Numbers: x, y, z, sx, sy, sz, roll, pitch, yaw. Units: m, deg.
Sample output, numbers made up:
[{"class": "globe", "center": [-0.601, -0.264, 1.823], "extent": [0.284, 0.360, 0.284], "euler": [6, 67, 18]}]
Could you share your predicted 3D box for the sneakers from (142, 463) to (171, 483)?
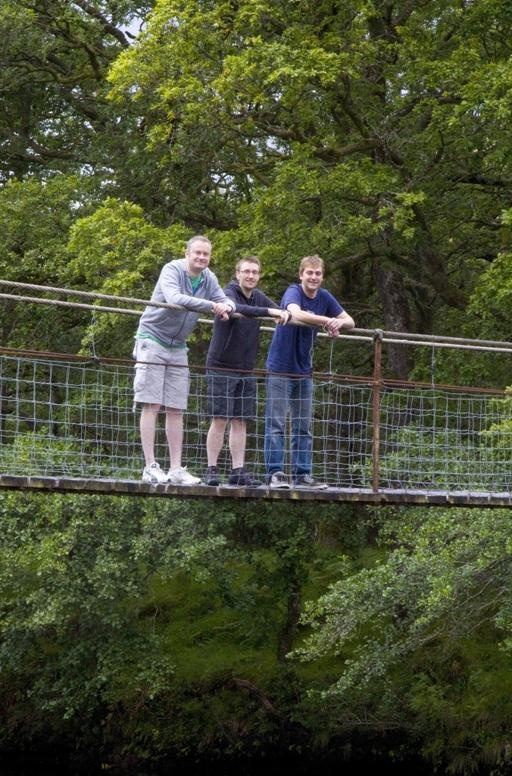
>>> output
[{"class": "sneakers", "center": [-0.508, 0.447, 3.974], "extent": [0.075, 0.077, 0.168], "euler": [1, -4, -24]}]

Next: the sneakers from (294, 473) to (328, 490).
[{"class": "sneakers", "center": [0.287, 0.537, 4.330], "extent": [0.209, 0.083, 0.071], "euler": [-3, -5, 33]}]

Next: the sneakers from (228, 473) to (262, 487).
[{"class": "sneakers", "center": [-0.069, 0.502, 4.168], "extent": [0.210, 0.082, 0.066], "euler": [2, -2, -2]}]

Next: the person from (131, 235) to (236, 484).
[{"class": "person", "center": [-0.387, -0.138, 4.085], "extent": [0.520, 1.301, 0.666], "euler": [-1, -3, -9]}]

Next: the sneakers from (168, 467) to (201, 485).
[{"class": "sneakers", "center": [-0.386, 0.464, 3.994], "extent": [0.184, 0.079, 0.077], "euler": [3, 4, 14]}]
